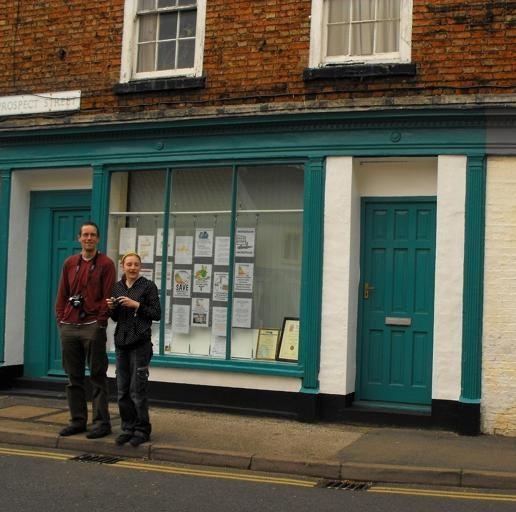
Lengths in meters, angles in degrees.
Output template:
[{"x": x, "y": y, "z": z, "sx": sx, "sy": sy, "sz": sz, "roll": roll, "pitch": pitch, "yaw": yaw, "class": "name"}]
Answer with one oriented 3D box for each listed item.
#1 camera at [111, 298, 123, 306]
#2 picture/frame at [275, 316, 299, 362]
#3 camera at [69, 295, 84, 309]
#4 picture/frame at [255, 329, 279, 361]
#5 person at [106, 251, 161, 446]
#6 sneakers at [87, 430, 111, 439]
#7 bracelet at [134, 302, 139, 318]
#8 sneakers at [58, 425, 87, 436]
[{"x": -1.434, "y": 0.473, "z": 8.859, "sx": 0.086, "sy": 0.078, "sz": 0.129, "roll": 0, "pitch": -3, "yaw": -10, "class": "camera"}, {"x": 0.377, "y": 1.037, "z": 10.688, "sx": 0.298, "sy": 0.551, "sz": 0.108, "roll": -3, "pitch": -4, "yaw": 37, "class": "picture/frame"}, {"x": -1.900, "y": 0.482, "z": 9.171, "sx": 0.110, "sy": 0.138, "sz": 0.146, "roll": 6, "pitch": 10, "yaw": 45, "class": "camera"}, {"x": 0.134, "y": 1.118, "z": 10.807, "sx": 0.372, "sy": 0.508, "sz": 0.049, "roll": 0, "pitch": -11, "yaw": 25, "class": "picture/frame"}, {"x": -1.287, "y": 0.954, "z": 9.023, "sx": 0.540, "sy": 1.975, "sz": 0.509, "roll": 0, "pitch": -3, "yaw": 0, "class": "person"}, {"x": -1.655, "y": 1.867, "z": 9.077, "sx": 0.076, "sy": 0.101, "sz": 0.230, "roll": 0, "pitch": -8, "yaw": 40, "class": "sneakers"}, {"x": -1.245, "y": 0.562, "z": 8.951, "sx": 0.029, "sy": 0.113, "sz": 0.109, "roll": 15, "pitch": -17, "yaw": -8, "class": "bracelet"}, {"x": -1.953, "y": 1.847, "z": 9.194, "sx": 0.097, "sy": 0.112, "sz": 0.295, "roll": 1, "pitch": -6, "yaw": 39, "class": "sneakers"}]
